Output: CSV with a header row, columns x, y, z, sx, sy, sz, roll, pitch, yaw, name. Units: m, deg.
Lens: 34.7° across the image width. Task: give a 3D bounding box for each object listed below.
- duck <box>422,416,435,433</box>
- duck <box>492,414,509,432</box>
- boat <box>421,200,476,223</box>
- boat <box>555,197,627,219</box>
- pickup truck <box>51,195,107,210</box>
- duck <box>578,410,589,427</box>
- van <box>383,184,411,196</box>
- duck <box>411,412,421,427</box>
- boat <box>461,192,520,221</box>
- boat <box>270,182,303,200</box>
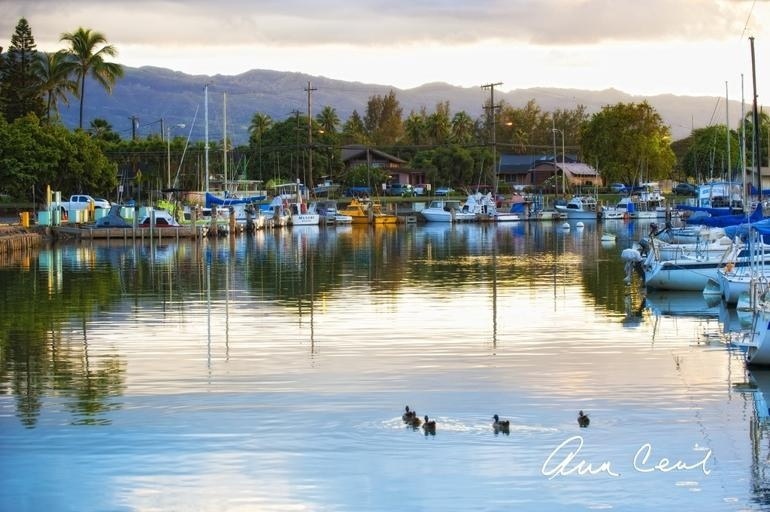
x,y,z,sx,sy,sz,roll,pitch,yaw,name
1.232,4.730,34.860,0.362,0.425,0.467,-2,5,2,duck
3.279,4.714,34.853,0.490,0.456,0.430,-1,5,5,duck
5.847,-3.856,112.154,3.994,1.446,2.379,-2,7,-7,boat
19.064,-4.365,114.270,6.797,2.159,3.862,-6,7,-40,boat
-23.372,-3.683,93.791,3.949,1.377,1.805,-2,5,1,pickup truck
5.660,4.621,35.143,0.241,0.450,0.174,-2,4,10,duck
1.473,-7.519,139.613,2.429,1.142,1.528,4,5,13,van
0.865,4.624,35.079,0.261,0.354,0.438,-2,5,1,duck
9.460,-4.696,114.059,2.690,1.713,4.749,0,-1,44,boat
-9.275,-6.324,119.832,2.157,1.242,3.369,0,3,-29,boat
